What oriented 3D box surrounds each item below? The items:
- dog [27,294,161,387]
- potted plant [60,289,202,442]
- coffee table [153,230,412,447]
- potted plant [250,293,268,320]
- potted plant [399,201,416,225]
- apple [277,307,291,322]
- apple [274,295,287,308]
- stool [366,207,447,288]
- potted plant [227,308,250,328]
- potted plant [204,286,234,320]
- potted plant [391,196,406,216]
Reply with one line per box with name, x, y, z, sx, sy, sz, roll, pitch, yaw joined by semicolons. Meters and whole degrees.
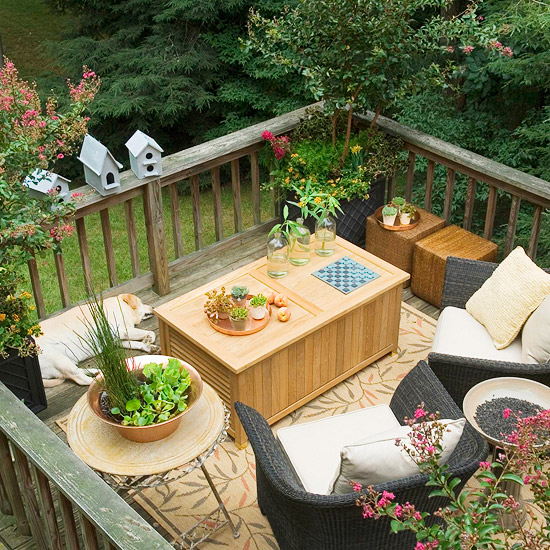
dog;-1.227;0.365;3.708;0.662;0.350;0.961;31;43;35
potted plant;-0.505;0.445;2.265;0.197;0.514;0.512;6;28;36
coffee table;0.112;0.392;3.568;1.503;0.623;0.845;-22;38;-29
potted plant;-0.097;0.204;3.144;0.107;0.108;0.091;-27;46;-30
potted plant;1.110;-0.511;4.306;0.148;0.144;0.141;-20;38;-24
apple;0.056;0.245;3.162;0.075;0.030;0.076;0;41;2
apple;0.036;0.174;3.266;0.081;0.069;0.030;1;-11;-6
stool;1.055;-0.316;4.577;0.607;0.538;0.635;31;51;33
potted plant;-0.214;0.258;3.038;0.124;0.123;0.123;-3;40;-5
potted plant;-0.353;0.165;3.181;0.224;0.078;0.201;-5;35;-9
potted plant;1.028;-0.567;4.312;0.162;0.139;0.143;-3;34;0
